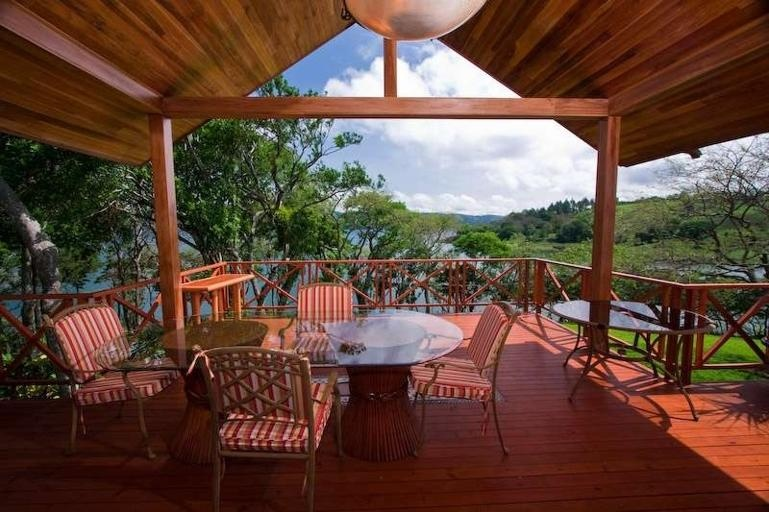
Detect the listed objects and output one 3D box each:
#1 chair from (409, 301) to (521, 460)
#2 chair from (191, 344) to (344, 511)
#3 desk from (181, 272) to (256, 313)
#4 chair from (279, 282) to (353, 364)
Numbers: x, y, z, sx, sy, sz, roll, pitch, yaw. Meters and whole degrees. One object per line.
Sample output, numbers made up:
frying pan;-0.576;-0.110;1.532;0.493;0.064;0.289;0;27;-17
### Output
chair;0.710;1.083;5.069;1.070;1.258;1.043;2;6;-18
chair;-0.953;1.262;4.717;1.278;1.859;1.421;2;21;-1
desk;-2.433;0.549;7.257;0.709;0.476;1.609;0;4;-4
chair;-0.716;0.626;5.258;0.609;0.995;0.666;0;-10;-2
